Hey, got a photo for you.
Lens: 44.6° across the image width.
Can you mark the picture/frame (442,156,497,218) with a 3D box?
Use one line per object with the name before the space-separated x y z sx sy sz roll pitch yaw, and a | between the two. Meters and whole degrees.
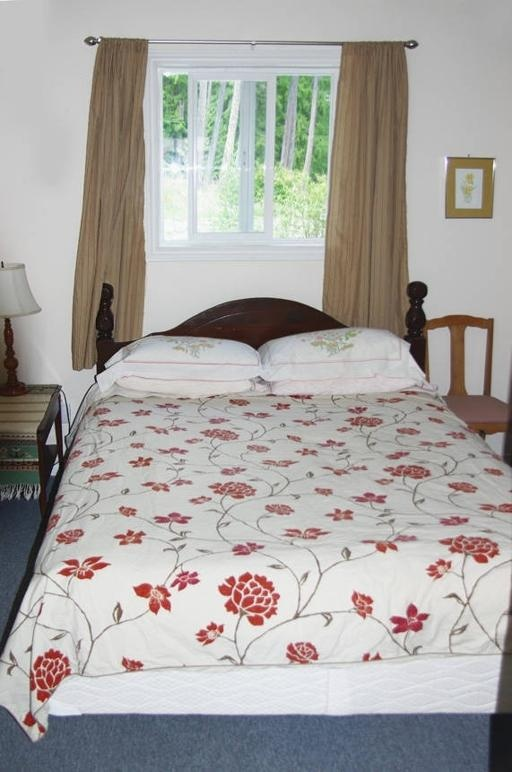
picture/frame | 1.129 -1.072 3.314 0.298 0.352 0.012 -1 12 -7
